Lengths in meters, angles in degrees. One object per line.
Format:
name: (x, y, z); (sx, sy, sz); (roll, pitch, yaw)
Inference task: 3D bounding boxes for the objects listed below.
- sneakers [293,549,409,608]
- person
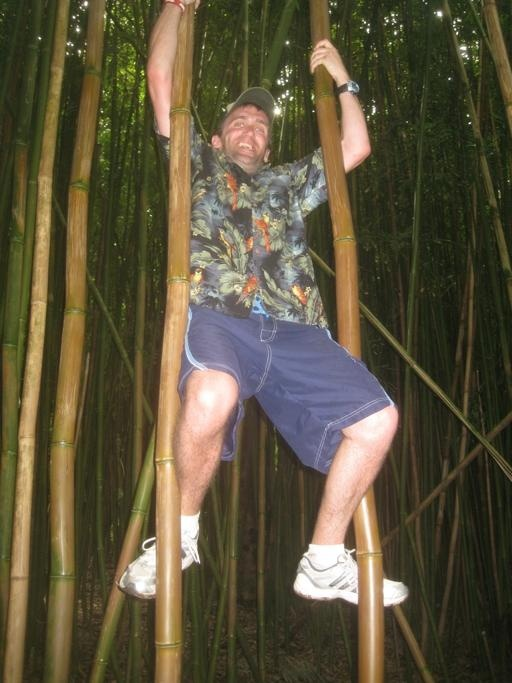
sneakers: (0.219, 0.531, 1.813); (0.273, 0.199, 0.125); (2, -5, 2)
person: (0.021, -0.097, 1.883); (0.699, 1.083, 0.716); (8, 5, -15)
